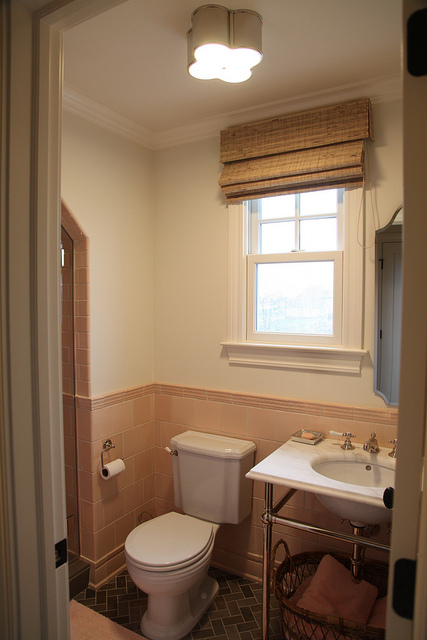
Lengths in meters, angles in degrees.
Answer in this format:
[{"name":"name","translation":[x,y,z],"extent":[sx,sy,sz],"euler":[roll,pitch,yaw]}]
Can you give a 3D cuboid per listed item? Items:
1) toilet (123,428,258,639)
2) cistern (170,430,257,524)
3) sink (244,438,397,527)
[{"name":"toilet","translation":[-0.139,0.912,2.286],"extent":[0.463,0.872,0.780],"euler":[0,-3,26]},{"name":"cistern","translation":[0.009,0.696,2.393],"extent":[0.317,0.409,0.320],"euler":[5,6,23]},{"name":"sink","translation":[0.446,0.615,1.894],"extent":[0.484,0.202,0.593],"euler":[1,5,28]}]
